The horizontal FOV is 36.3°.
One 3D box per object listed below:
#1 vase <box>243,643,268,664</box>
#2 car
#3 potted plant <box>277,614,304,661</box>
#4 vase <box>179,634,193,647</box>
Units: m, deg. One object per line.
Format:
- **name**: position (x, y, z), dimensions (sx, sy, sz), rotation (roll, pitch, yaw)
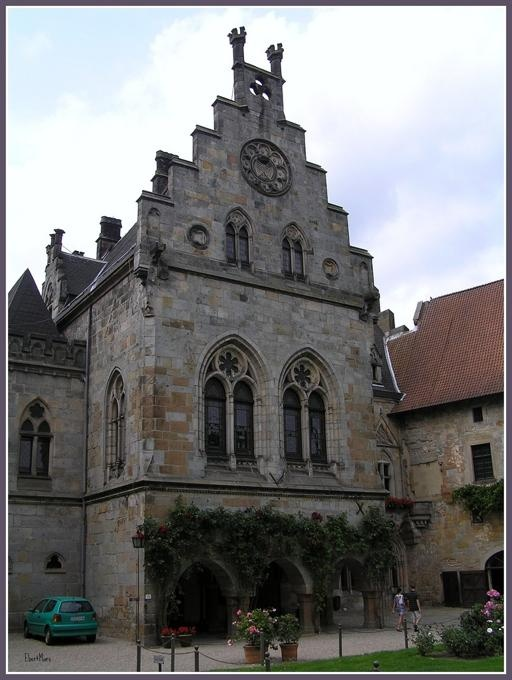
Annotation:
- **vase**: position (-0.021, 6.081, 15.314), dimensions (0.574, 0.414, 0.569), rotation (-3, -26, 7)
- **car**: position (-4.836, 6.936, 19.337), dimensions (1.120, 0.834, 1.805), rotation (16, -30, -29)
- **potted plant**: position (0.643, 6.045, 15.845), dimensions (0.493, 0.863, 0.483), rotation (-1, -21, -4)
- **vase**: position (-1.646, 6.962, 18.138), dimensions (0.263, 0.298, 0.333), rotation (-1, -15, -7)
